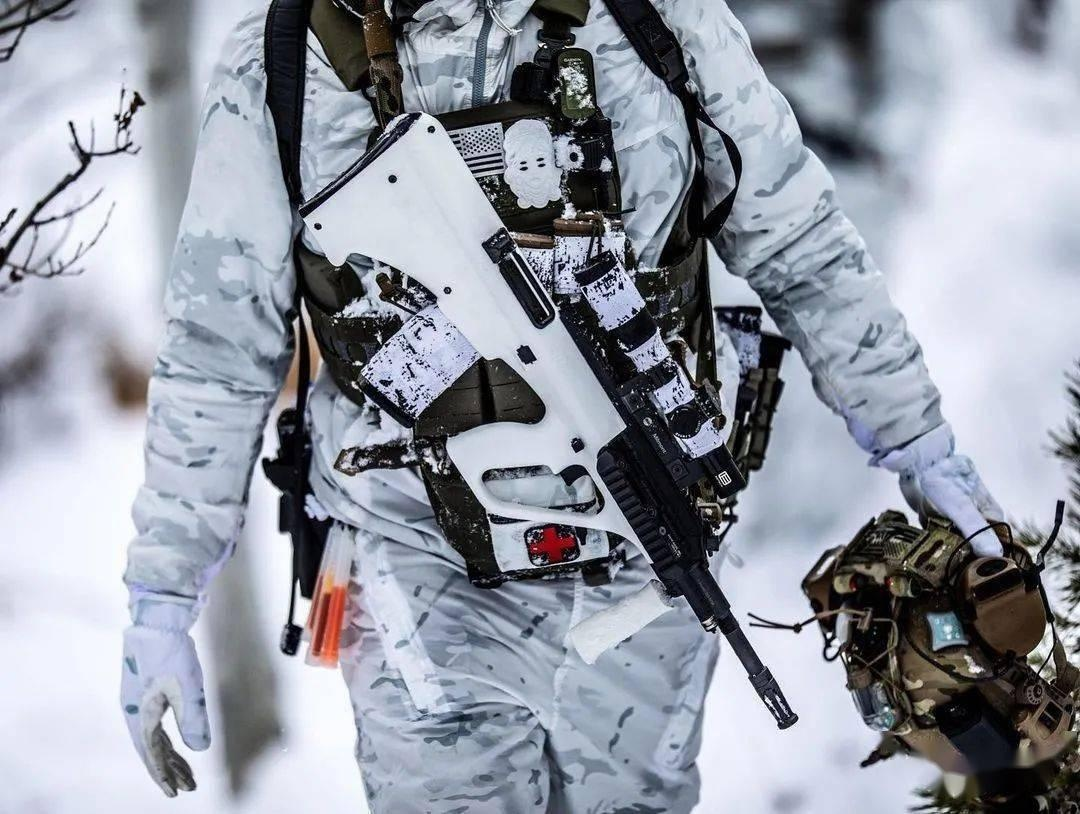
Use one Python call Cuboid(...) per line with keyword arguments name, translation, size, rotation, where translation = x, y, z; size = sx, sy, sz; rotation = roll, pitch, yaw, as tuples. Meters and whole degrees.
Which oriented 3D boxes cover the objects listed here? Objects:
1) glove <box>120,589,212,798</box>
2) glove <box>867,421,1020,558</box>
Cuboid(name="glove", translation=(-0.998, 0.757, 5.179), size=(0.264, 0.528, 0.131), rotation=(0, 2, 6))
Cuboid(name="glove", translation=(1.090, 0.219, 5.257), size=(0.235, 0.412, 0.124), rotation=(-33, -7, 10))
